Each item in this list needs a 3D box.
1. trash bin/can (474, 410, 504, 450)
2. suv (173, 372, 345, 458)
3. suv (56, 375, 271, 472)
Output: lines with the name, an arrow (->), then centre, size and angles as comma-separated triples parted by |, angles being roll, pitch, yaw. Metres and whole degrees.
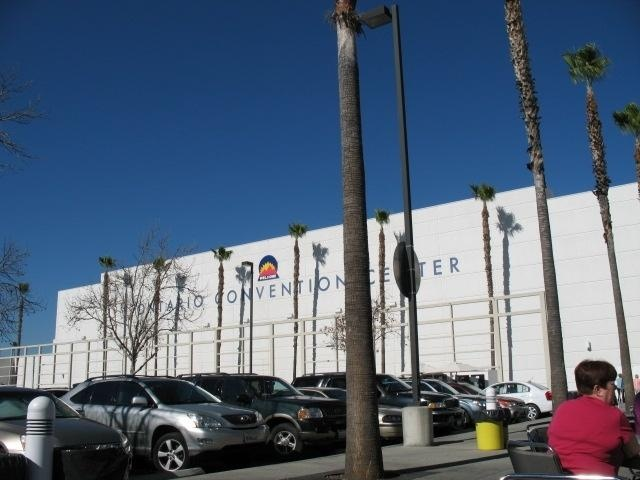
trash bin/can -> 3.910, 4.498, 13.703 | 0.736, 0.807, 0.743 | 1, -13, -7
suv -> -1.226, 4.222, 14.372 | 3.579, 1.564, 1.894 | -11, -15, 32
suv -> -3.406, 3.671, 12.289 | 4.115, 1.555, 1.946 | -9, -15, 31
